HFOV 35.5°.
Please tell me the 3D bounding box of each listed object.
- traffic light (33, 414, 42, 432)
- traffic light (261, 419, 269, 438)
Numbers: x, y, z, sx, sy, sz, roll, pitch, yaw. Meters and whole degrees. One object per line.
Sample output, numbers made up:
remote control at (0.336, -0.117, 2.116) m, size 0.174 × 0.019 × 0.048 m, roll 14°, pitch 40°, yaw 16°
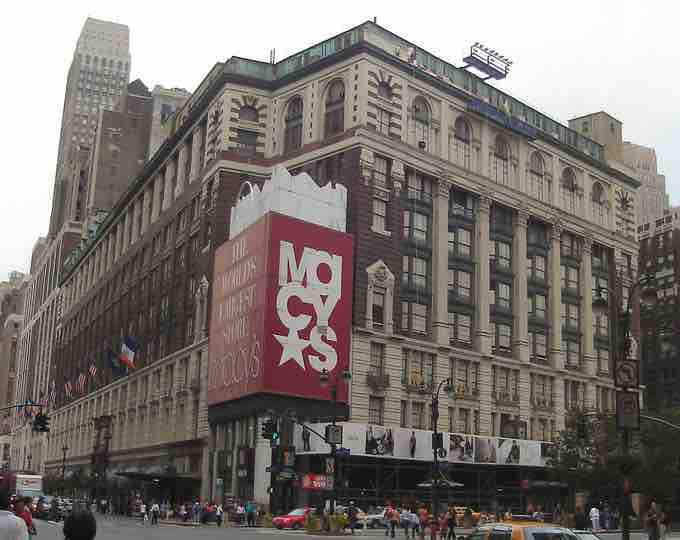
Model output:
traffic light at (-25.210, 12.791, 89.375) m, size 0.814 × 1.407 × 1.360 m, roll 6°, pitch -23°, yaw -15°
traffic light at (-5.504, 12.037, 80.257) m, size 0.515 × 1.318 × 1.225 m, roll 4°, pitch -23°, yaw -11°
